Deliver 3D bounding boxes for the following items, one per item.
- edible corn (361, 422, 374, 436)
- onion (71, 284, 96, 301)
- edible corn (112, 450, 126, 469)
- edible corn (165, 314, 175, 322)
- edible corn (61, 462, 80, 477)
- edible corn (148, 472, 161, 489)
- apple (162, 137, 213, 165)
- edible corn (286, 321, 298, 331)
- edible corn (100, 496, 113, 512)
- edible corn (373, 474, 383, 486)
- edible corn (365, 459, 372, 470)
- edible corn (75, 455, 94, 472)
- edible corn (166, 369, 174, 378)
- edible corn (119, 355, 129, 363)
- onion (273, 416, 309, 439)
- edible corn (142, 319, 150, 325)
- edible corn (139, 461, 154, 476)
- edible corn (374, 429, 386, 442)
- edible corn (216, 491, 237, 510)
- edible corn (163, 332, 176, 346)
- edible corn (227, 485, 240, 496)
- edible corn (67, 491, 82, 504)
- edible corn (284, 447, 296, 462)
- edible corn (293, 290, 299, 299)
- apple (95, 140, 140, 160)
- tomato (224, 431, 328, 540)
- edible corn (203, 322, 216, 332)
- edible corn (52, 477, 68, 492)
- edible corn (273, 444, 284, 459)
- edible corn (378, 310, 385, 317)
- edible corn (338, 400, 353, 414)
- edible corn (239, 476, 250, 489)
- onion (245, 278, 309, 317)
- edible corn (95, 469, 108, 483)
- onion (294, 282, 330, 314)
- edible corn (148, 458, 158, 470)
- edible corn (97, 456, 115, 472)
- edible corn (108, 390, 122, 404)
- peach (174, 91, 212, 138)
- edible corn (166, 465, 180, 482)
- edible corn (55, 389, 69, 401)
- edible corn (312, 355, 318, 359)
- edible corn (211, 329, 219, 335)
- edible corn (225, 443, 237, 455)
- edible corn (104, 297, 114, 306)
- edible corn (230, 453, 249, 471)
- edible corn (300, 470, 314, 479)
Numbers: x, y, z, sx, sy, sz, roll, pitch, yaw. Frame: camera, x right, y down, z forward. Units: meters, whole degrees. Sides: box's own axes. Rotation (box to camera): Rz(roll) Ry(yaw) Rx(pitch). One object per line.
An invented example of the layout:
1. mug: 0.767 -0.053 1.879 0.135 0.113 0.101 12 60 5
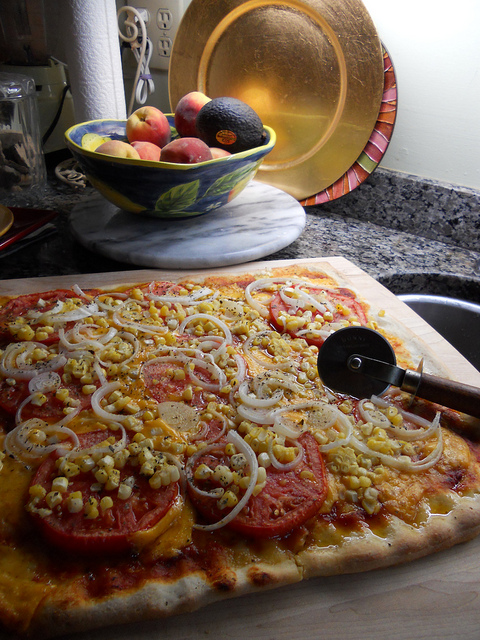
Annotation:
1. edible corn: 0.226 0.194 0.965 0.017 0.020 0.012 -16 -9 7
2. onion: -0.377 -0.064 1.298 0.067 0.019 0.013 26 38 18
3. edible corn: -0.190 0.221 0.864 0.022 0.025 0.011 3 22 -14
4. edible corn: -0.160 -0.004 1.223 0.017 0.006 0.016 -30 24 23
5. edible corn: -0.263 0.232 0.840 0.016 0.017 0.020 14 2 -2
6. edible corn: -0.130 0.247 0.838 0.018 0.016 0.023 -2 28 1
7. apple: -0.131 -0.427 1.450 0.131 0.091 0.094 -4 10 -26
8. edible corn: 0.115 0.012 1.209 0.020 0.020 0.019 30 72 -15
9. edible corn: -0.198 0.271 0.800 0.020 0.017 0.006 -2 -1 2
10. edible corn: 0.225 0.262 0.891 0.016 0.013 0.015 -15 46 14
11. edible corn: 0.217 0.244 0.913 0.012 0.011 0.013 1 5 40
12. edible corn: -0.244 0.225 0.853 0.022 0.022 0.027 54 3 6
13. edible corn: -0.140 0.106 1.067 0.013 0.009 0.016 -7 72 1
14. edible corn: -0.236 0.077 1.089 0.013 0.003 0.012 16 43 -4
15. onion: 0.096 0.185 0.946 0.042 0.013 0.040 -11 32 -34
16. edible corn: -0.207 0.005 1.177 0.010 0.002 0.010 -20 42 -31
17. edible corn: -0.145 0.231 0.841 0.016 0.013 0.020 8 56 -3
18. edible corn: 0.246 0.202 0.952 0.016 0.005 0.015 25 39 28
19. edible corn: -0.019 0.271 0.817 0.026 0.012 0.020 -32 59 -5
20. edible corn: -0.148 0.041 1.140 0.025 0.009 0.023 8 54 -7
21. edible corn: -0.009 0.263 0.836 0.015 0.008 0.010 9 41 6
22. edible corn: -0.248 0.259 0.794 0.016 0.004 0.013 -12 48 6
23. edible corn: 0.082 0.222 0.900 0.020 0.018 0.022 18 28 -14
24. edible corn: 0.136 -0.062 1.319 0.004 0.015 0.014 13 68 -37
25. apple: -0.325 -0.452 1.446 0.103 0.045 0.139 7 31 1
26. tomato: 0.073 0.276 0.928 0.203 0.085 0.165 -3 21 -18
27. edible corn: -0.068 0.016 1.201 0.022 0.009 0.020 32 75 12
28. edible corn: -0.271 0.246 0.815 0.021 0.009 0.021 6 33 -20
29. edible corn: 0.063 0.216 0.896 0.019 0.007 0.018 5 53 -28
30. edible corn: 0.342 -0.016 1.313 0.015 0.014 0.023 26 25 2
31. edible corn: 0.198 0.162 1.014 0.021 0.020 0.008 -34 10 -19
32. edible corn: 0.007 0.252 0.844 0.016 0.008 0.015 -1 53 -6
33. onion: 0.089 -0.052 1.327 0.152 0.052 0.112 -13 21 -39
34. edible corn: -0.211 0.239 0.833 0.020 0.018 0.021 0 58 -12
35. onion: 0.175 -0.049 1.332 0.055 0.017 0.088 -9 42 -41
36. edible corn: -0.137 0.226 0.851 0.006 0.011 0.011 -35 52 9
37. edible corn: -0.210 0.224 0.849 0.019 0.017 0.024 -23 11 -7
38. edible corn: -0.229 0.139 0.987 0.019 0.009 0.019 -46 34 0
39. peach: -0.155 -0.642 1.719 0.137 0.148 0.170 21 31 39
40. edible corn: -0.104 0.238 0.846 0.021 0.030 0.035 -6 -2 -16
41. edible corn: -0.321 0.135 0.977 0.018 0.012 0.017 7 20 16
42. edible corn: 0.156 0.078 1.136 0.009 0.002 0.008 -11 26 -20
43. edible corn: -0.055 0.026 1.189 0.011 0.002 0.011 10 27 23
44. edible corn: -0.016 0.212 0.892 0.014 0.007 0.017 -5 37 -16
45. edible corn: -0.301 -0.042 1.243 0.016 0.006 0.017 42 53 19
46. edible corn: -0.001 0.229 0.876 0.023 0.021 0.022 0 0 -36
47. edible corn: 0.106 0.249 0.875 0.014 0.011 0.006 24 64 -17
